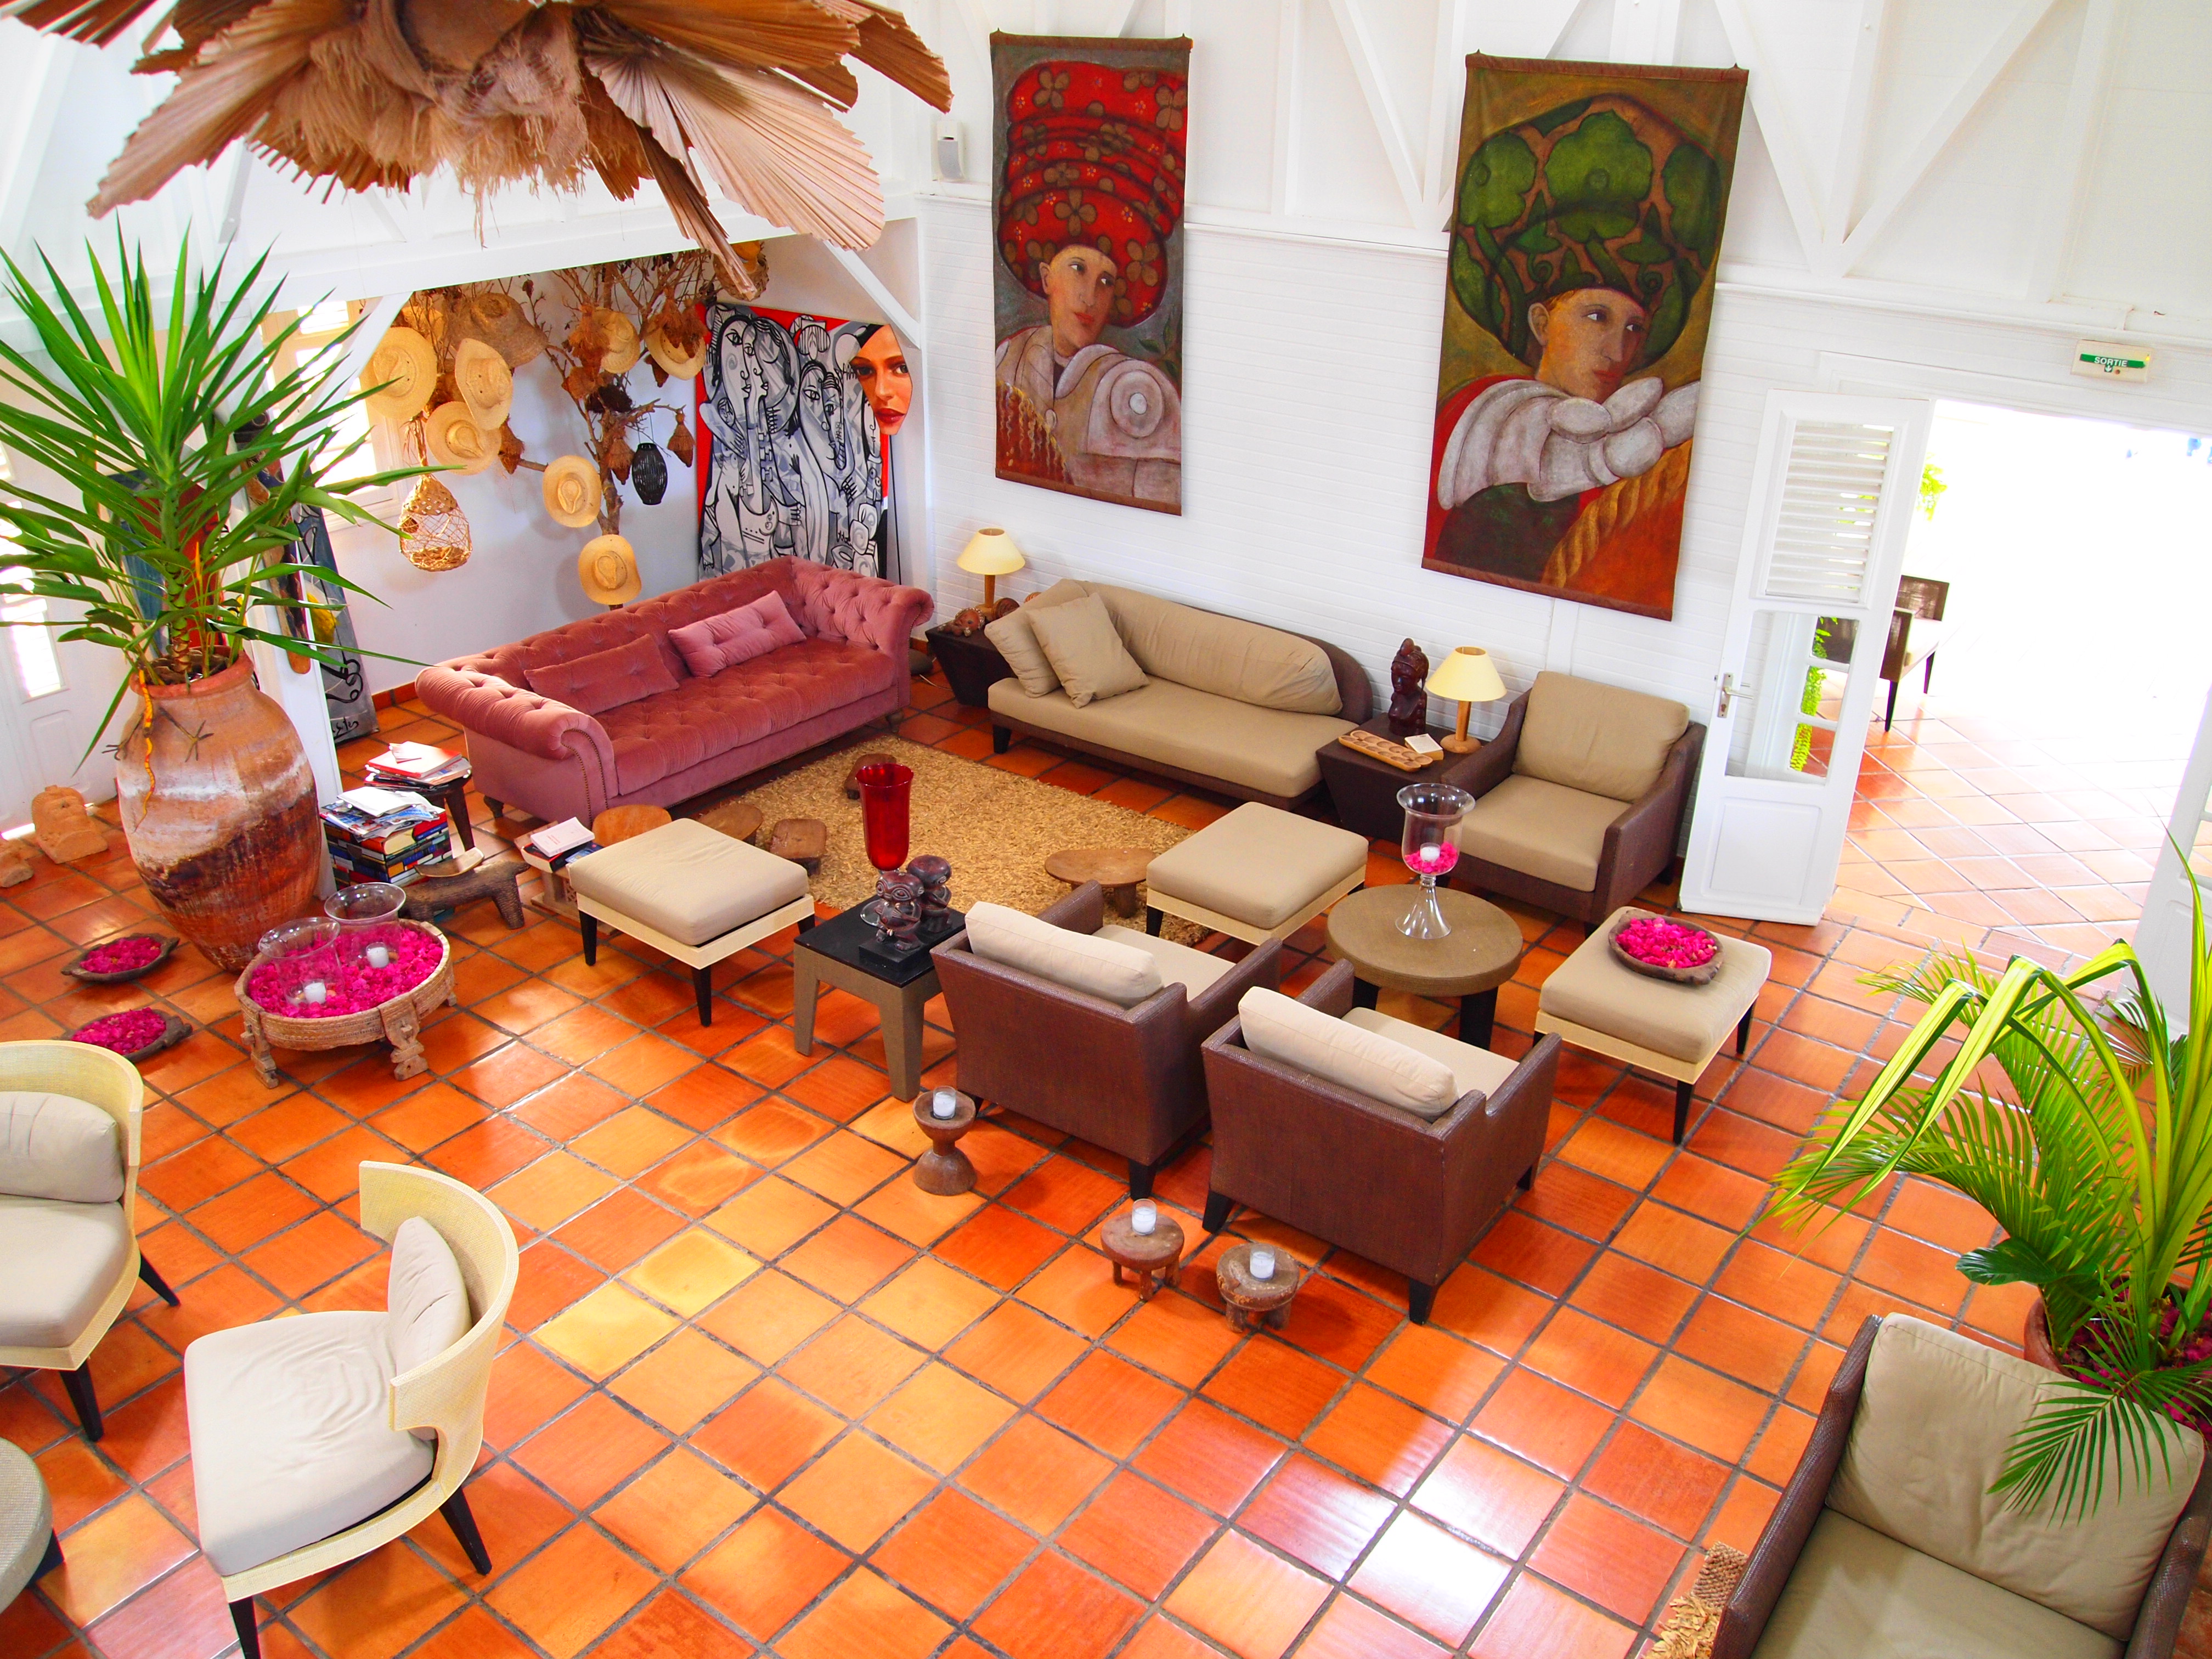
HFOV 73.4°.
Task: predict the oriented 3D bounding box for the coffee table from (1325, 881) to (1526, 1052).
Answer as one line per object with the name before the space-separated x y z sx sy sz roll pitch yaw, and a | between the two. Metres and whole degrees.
coffee table | 1.609 0.501 7.217 0.772 0.509 0.812 16 44 19

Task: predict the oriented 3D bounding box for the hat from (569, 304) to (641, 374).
hat | -3.568 -3.473 10.598 0.453 0.474 0.373 1 24 -1

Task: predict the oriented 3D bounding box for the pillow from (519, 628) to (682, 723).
pillow | -3.175 -0.988 9.567 0.369 0.347 1.047 20 30 37

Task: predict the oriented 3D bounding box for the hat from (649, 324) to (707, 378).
hat | -3.122 -3.560 10.951 0.530 0.352 0.361 -17 30 -36

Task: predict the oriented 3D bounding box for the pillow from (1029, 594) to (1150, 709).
pillow | -0.123 -1.227 9.825 0.191 0.689 0.698 -31 -5 40

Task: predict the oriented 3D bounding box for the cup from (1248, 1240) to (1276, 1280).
cup | 0.624 1.695 5.845 0.115 0.102 0.126 1 24 0

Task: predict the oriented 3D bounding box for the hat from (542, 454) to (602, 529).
hat | -3.796 -2.417 10.601 0.362 0.465 0.246 -7 25 -19

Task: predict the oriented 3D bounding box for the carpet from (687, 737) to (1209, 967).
carpet | -0.849 -0.056 9.283 1.991 0.017 1.231 18 33 29

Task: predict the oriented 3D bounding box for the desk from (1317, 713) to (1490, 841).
desk | 1.748 -0.348 9.044 0.587 0.540 0.754 27 43 34

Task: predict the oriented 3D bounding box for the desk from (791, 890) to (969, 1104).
desk | -1.034 0.704 7.336 0.799 0.797 0.820 24 40 30

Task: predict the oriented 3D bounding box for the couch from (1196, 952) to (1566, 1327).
couch | 1.178 1.154 6.480 1.190 1.398 1.396 21 42 28

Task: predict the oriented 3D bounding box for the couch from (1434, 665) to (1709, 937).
couch | 2.706 0.023 8.812 1.240 1.338 1.459 23 49 26

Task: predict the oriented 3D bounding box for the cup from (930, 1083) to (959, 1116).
cup | -0.699 1.175 6.491 0.093 0.100 0.096 0 21 0

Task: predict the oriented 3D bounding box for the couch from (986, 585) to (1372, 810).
couch | 0.459 -0.810 9.935 2.473 1.222 1.109 17 28 33

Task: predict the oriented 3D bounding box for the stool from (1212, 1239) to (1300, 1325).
stool | 0.613 1.819 5.896 0.309 0.372 0.292 3 24 4

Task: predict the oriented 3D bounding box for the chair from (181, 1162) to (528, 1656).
chair | -2.562 2.049 5.101 0.827 1.092 0.934 -5 39 -35

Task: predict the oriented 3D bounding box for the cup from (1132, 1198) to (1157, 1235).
cup | 0.157 1.573 6.028 0.102 0.112 0.120 -4 -10 -7
